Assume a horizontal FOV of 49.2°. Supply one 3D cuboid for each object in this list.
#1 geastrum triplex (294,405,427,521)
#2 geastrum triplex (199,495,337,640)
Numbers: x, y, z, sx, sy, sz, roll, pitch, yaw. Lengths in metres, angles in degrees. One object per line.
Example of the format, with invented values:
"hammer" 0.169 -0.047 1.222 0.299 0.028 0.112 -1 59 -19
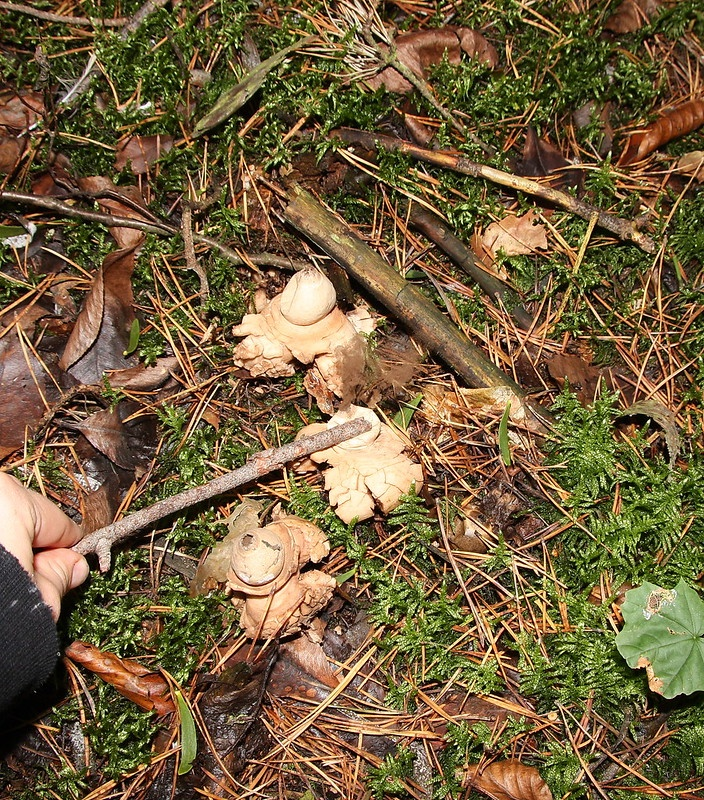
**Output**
"geastrum triplex" 0.054 0.258 3.339 0.424 0.232 0.488 -22 62 -9
"geastrum triplex" -0.420 0.738 3.142 0.599 0.731 0.309 11 93 3
